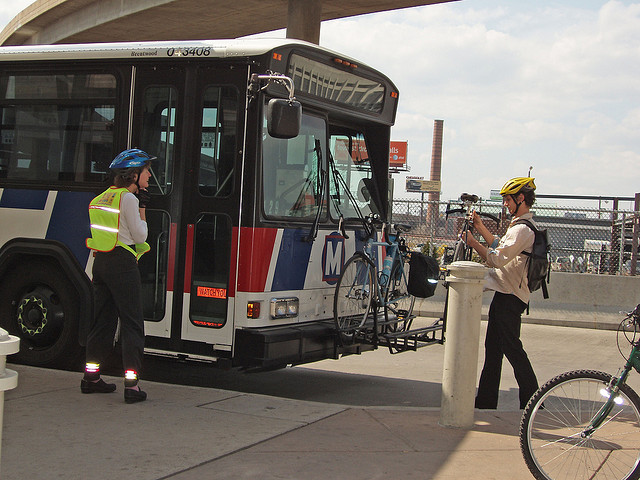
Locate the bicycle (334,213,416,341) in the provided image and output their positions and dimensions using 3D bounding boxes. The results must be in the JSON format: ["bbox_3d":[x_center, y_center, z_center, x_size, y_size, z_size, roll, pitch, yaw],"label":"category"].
[{"bbox_3d":[0.685,0.471,7.919,0.712,1.600,1.737,1,-2,33],"label":"bicycle"}]

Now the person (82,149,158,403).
[{"bbox_3d":[-2.198,0.378,6.664,0.711,2.218,0.417,2,-2,26],"label":"person"}]

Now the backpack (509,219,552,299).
[{"bbox_3d":[2.439,0.195,7.051,0.456,0.825,0.585,8,19,31],"label":"backpack"}]

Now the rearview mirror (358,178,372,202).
[{"bbox_3d":[0.633,-0.712,8.782,0.070,0.310,0.223,7,4,23],"label":"rearview mirror"}]
